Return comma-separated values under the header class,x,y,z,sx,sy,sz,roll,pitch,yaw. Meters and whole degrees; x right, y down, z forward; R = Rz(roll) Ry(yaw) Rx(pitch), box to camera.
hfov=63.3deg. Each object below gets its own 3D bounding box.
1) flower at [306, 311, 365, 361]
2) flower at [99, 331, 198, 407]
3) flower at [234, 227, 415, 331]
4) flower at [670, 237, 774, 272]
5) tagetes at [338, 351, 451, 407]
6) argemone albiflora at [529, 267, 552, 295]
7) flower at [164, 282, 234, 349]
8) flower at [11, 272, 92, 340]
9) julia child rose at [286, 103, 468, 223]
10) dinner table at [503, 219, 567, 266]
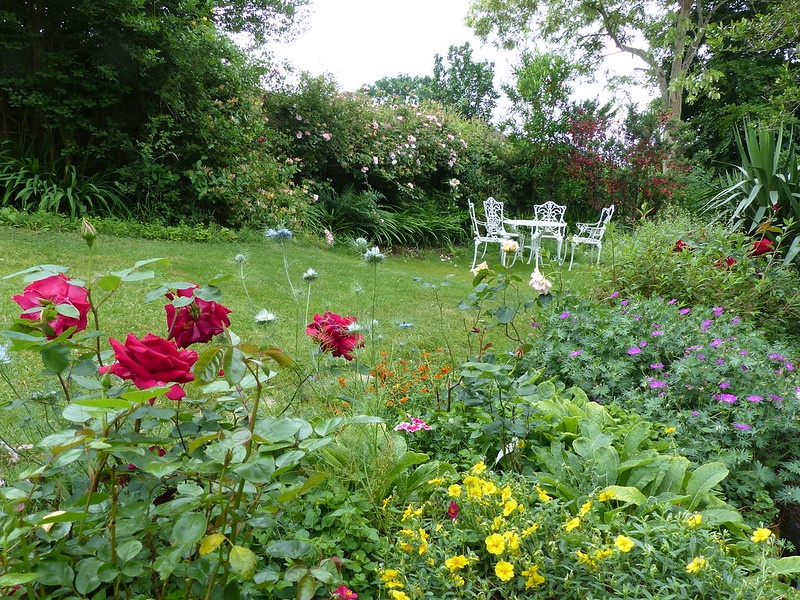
class,x,y,z,sx,sy,sz,roll,pitch,yaw
flower,-0.321,0.180,3.180,0.276,0.239,0.220,-1,12,-9
flower,-0.900,0.241,2.433,0.361,0.183,0.321,-3,5,-21
flower,-0.706,-0.186,5.607,0.812,0.888,0.968,13,16,42
flower,2.435,-0.359,4.831,0.732,0.178,0.730,5,13,20
tagetes,0.009,0.461,3.602,0.366,0.214,0.409,0,6,44
argemone albiflora,0.769,-0.099,3.425,0.076,0.146,0.148,-26,-9,12
flower,-0.789,0.087,2.507,0.230,0.185,0.075,0,12,-1
flower,-1.339,0.016,2.415,0.347,0.223,0.205,4,13,16
julia child rose,-0.051,-2.301,10.442,1.220,1.833,3.545,9,15,34
dinner table,1.826,-0.768,8.612,1.108,0.730,1.117,0,5,4
